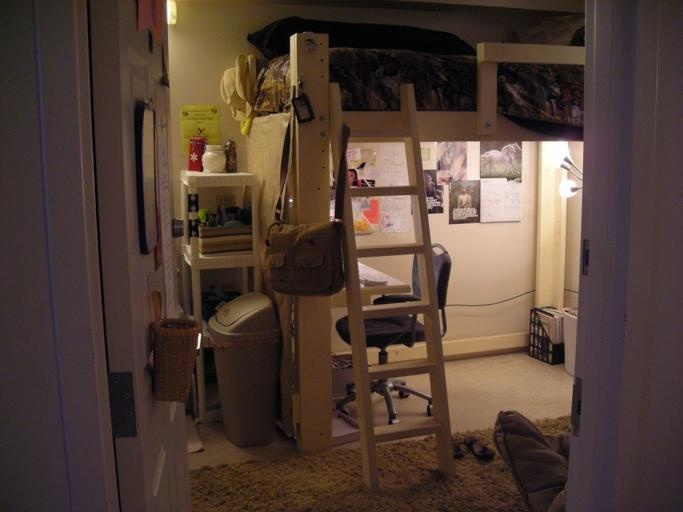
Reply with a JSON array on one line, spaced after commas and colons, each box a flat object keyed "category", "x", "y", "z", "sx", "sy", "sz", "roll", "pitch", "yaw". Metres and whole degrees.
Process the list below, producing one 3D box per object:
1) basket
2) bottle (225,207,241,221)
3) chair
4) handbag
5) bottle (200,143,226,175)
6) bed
[{"category": "basket", "x": -0.444, "y": 0.291, "z": 1.574, "sx": 0.120, "sy": 0.251, "sz": 0.198, "roll": -3, "pitch": 10, "yaw": -15}, {"category": "bottle", "x": -0.745, "y": -0.292, "z": 3.993, "sx": 0.107, "sy": 0.116, "sz": 0.097, "roll": -2, "pitch": 3, "yaw": -28}, {"category": "chair", "x": 0.348, "y": 0.492, "z": 4.070, "sx": 0.782, "sy": 1.202, "sz": 0.827, "roll": 5, "pitch": 4, "yaw": 43}, {"category": "handbag", "x": -0.189, "y": 0.013, "z": 3.084, "sx": 0.359, "sy": 0.362, "sz": 0.186, "roll": 0, "pitch": -3, "yaw": 18}, {"category": "bottle", "x": -0.839, "y": -0.642, "z": 3.855, "sx": 0.162, "sy": 0.222, "sz": 0.175, "roll": -1, "pitch": -1, "yaw": 0}, {"category": "bed", "x": 0.317, "y": -0.106, "z": 3.720, "sx": 1.276, "sy": 2.623, "sz": 2.488, "roll": -2, "pitch": 8, "yaw": -17}]
